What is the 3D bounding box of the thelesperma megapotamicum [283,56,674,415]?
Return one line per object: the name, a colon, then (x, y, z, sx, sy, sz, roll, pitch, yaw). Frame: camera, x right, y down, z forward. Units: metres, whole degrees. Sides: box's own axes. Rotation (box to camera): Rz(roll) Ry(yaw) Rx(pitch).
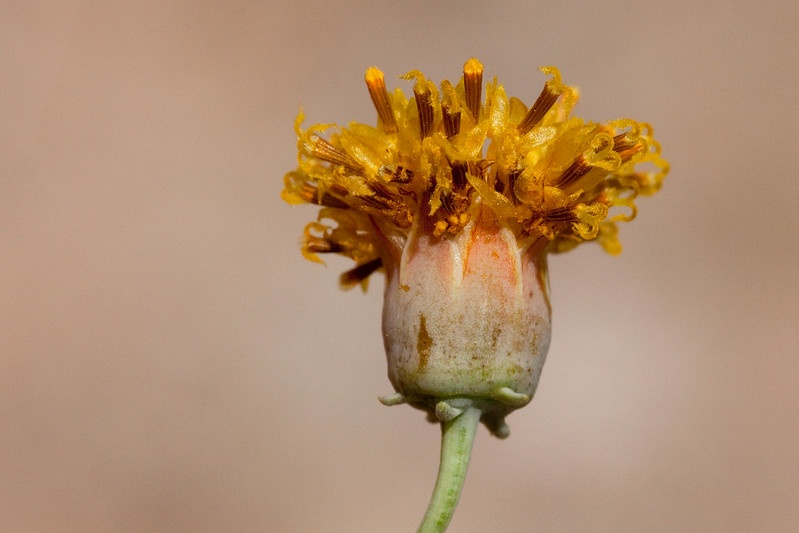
thelesperma megapotamicum: (0.174, -0.229, 2.577, 0.894, 0.499, 0.624, -15, -61, 15)
